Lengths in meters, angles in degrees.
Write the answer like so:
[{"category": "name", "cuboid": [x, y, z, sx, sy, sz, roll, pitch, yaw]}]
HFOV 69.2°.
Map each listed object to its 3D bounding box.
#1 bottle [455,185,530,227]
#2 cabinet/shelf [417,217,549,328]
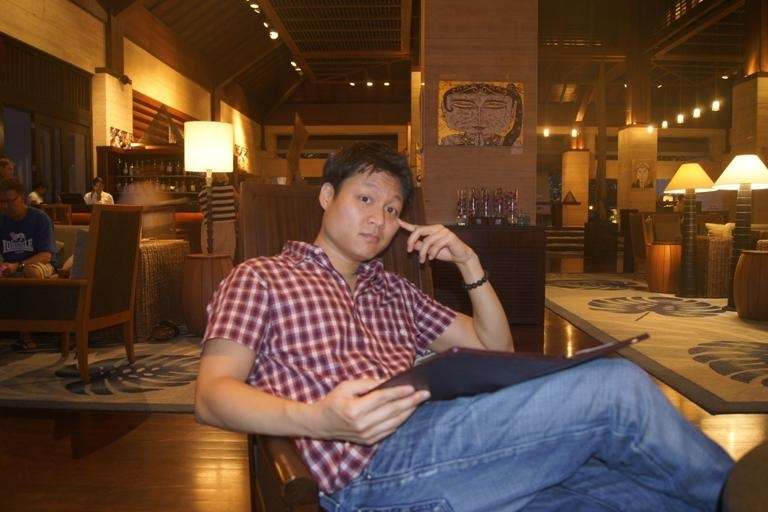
[{"category": "bottle", "cuboid": [0.910, -0.424, 4.962, 0.652, 0.333, 0.391, -1, 1, 3]}, {"category": "cabinet/shelf", "cuboid": [0.701, 0.117, 3.812, 0.962, 0.867, 0.356, 0, 6, 1]}]
